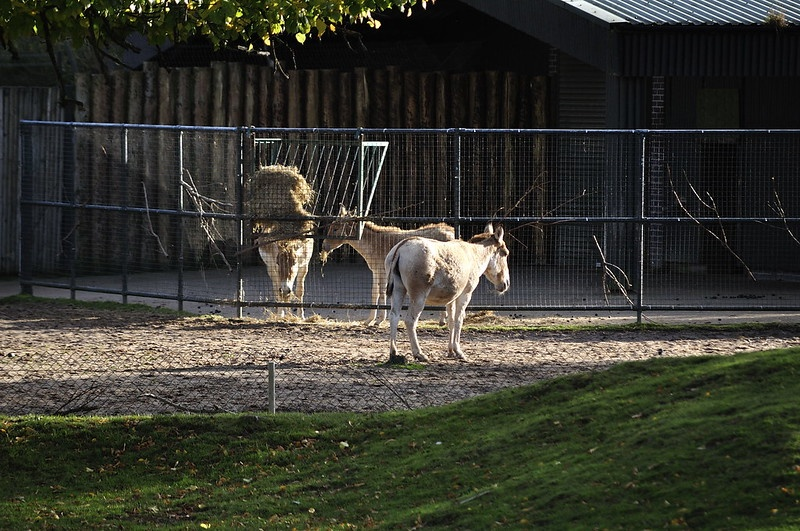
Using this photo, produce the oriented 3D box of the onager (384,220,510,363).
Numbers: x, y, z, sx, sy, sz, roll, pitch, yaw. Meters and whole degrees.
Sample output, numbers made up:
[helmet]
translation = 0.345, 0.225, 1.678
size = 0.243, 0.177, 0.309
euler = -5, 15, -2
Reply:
[onager]
translation = 0.782, 0.381, 24.221
size = 2.574, 2.379, 0.788
euler = 3, -3, -40
